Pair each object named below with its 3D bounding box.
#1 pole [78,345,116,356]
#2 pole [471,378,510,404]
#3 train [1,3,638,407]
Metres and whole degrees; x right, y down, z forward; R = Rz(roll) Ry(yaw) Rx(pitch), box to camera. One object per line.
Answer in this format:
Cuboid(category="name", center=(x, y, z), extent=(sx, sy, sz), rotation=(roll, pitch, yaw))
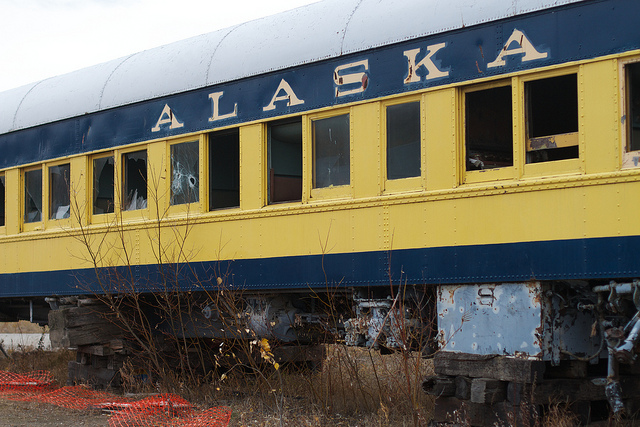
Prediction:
Cuboid(category="pole", center=(-3.646, 2.233, 13.973), extent=(0.744, 0.184, 0.233), rotation=(-10, -13, 33))
Cuboid(category="pole", center=(2.050, 2.158, 10.405), extent=(0.447, 0.288, 0.153), rotation=(-5, -10, 13))
Cuboid(category="train", center=(-2.121, 0.042, 15.202), extent=(3.756, 5.830, 15.585), rotation=(0, -4, -41))
